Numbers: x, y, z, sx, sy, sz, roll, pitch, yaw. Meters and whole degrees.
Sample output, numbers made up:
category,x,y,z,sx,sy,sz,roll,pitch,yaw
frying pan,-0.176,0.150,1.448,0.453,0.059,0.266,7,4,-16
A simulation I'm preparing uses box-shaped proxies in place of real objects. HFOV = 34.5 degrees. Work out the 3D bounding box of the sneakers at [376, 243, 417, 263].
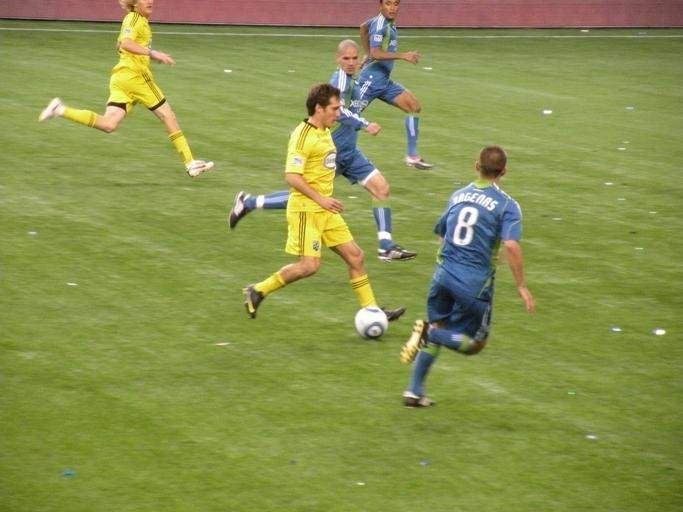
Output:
category,x,y,z,sx,sy,sz,roll,pitch,yaw
sneakers,0.550,-0.025,11.361,0.538,0.140,0.151,1,5,6

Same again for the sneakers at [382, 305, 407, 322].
category,x,y,z,sx,sy,sz,roll,pitch,yaw
sneakers,0.562,0.524,10.234,0.357,0.074,0.155,-1,41,9

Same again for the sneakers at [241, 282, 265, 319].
category,x,y,z,sx,sy,sz,roll,pitch,yaw
sneakers,-0.785,0.405,10.147,0.323,0.296,0.142,-2,7,6

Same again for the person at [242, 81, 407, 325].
category,x,y,z,sx,sy,sz,roll,pitch,yaw
person,-0.157,-0.459,9.971,1.202,2.219,0.801,6,26,-3

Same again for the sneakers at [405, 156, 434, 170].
category,x,y,z,sx,sy,sz,roll,pitch,yaw
sneakers,1.018,-1.158,13.783,0.440,0.103,0.125,10,23,13
